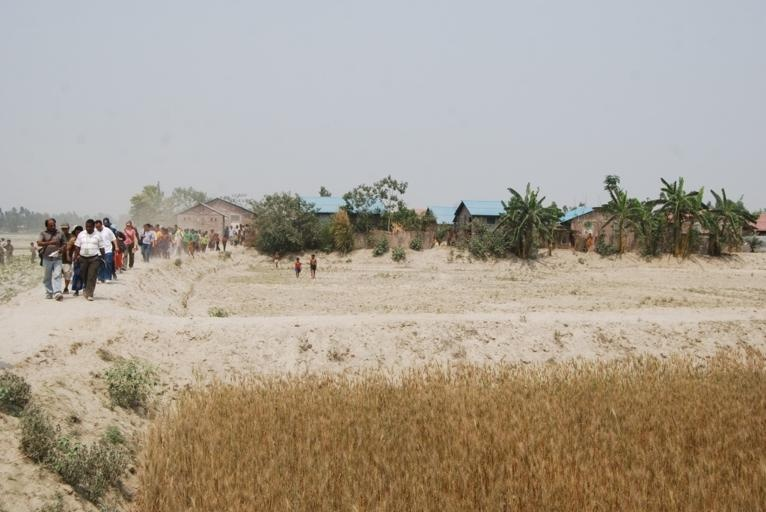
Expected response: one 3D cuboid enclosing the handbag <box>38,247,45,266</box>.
[{"bbox_3d":[-10.591,0.048,23.116,0.144,0.495,0.666,1,0,-26],"label":"handbag"}]
